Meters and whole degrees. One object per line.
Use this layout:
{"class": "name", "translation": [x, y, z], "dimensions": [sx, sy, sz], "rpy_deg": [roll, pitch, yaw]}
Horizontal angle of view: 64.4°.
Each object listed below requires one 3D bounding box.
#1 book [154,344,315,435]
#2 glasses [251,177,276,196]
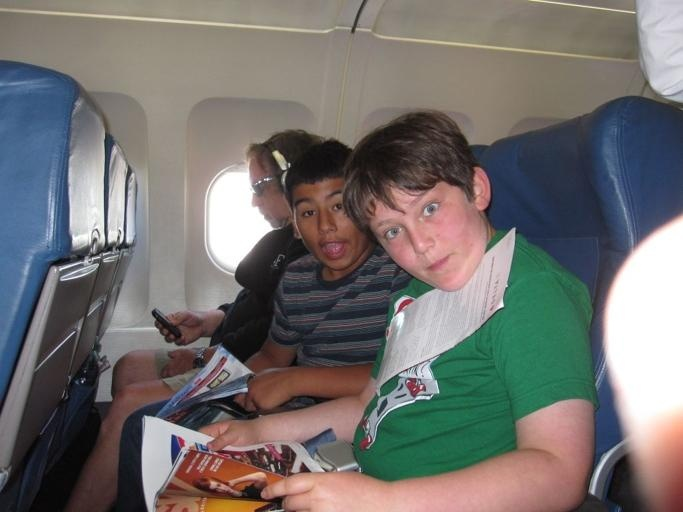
{"class": "book", "translation": [-0.372, 0.432, 1.710], "dimensions": [0.343, 0.125, 0.316], "rpy_deg": [2, 19, 9]}
{"class": "glasses", "translation": [-0.424, -0.389, 2.976], "dimensions": [0.107, 0.039, 0.101], "rpy_deg": [-28, 12, -33]}
